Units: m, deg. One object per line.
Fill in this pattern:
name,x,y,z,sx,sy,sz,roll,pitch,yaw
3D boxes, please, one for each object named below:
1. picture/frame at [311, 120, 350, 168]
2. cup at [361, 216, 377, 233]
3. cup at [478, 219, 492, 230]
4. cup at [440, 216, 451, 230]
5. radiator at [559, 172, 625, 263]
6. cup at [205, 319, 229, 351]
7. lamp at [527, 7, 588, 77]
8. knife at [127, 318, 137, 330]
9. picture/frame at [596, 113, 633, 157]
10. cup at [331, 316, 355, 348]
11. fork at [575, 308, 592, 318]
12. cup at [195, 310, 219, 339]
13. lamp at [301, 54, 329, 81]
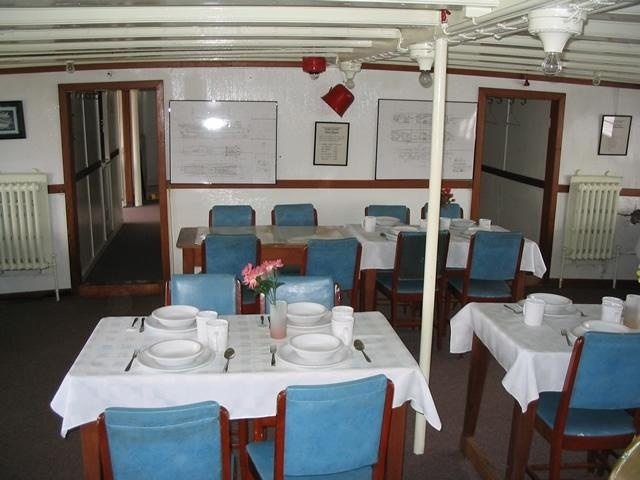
picture/frame,0.117,-1.334,6.643,0.630,0.752,0.049,1,11,-9
cup,0.527,-0.183,5.440,0.189,0.172,0.118,-2,13,-4
cup,1.863,-0.189,5.625,0.115,0.110,0.146,-1,10,2
cup,1.381,-0.198,5.539,0.126,0.122,0.167,-2,1,1
radiator,3.746,-0.316,6.900,0.697,1.189,0.249,-2,13,-5
cup,-0.556,0.534,2.830,0.111,0.153,0.166,5,18,0
lamp,1.295,-1.068,2.711,0.321,0.332,0.303,-1,12,0
knife,-1.168,0.518,3.112,0.025,0.019,0.102,2,26,-6
picture/frame,4.097,-1.516,6.941,0.589,0.754,0.050,0,10,-9
cup,0.127,0.523,2.856,0.113,0.173,0.171,0,18,-1
fork,1.796,0.494,3.375,0.059,0.014,0.059,2,21,3
cup,-0.655,0.483,2.935,0.118,0.142,0.156,14,19,34
lamp,-0.068,-2.042,5.790,0.250,0.221,0.233,6,22,15
